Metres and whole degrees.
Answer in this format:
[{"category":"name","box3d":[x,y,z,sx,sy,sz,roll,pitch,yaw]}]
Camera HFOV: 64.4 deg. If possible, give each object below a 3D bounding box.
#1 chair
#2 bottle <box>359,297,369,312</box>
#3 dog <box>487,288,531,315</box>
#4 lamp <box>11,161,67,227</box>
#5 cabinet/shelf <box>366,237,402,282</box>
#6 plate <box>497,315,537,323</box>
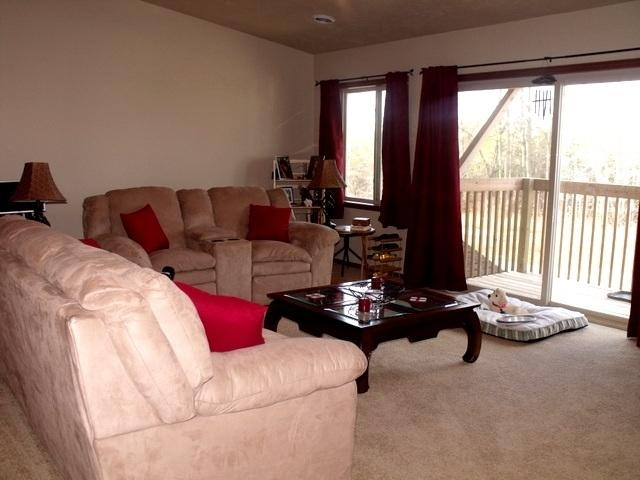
[{"category":"chair","box3d":[-0.935,0.014,4.357,1.411,0.649,0.684,0,2,-32]},{"category":"bottle","box3d":[0.297,0.434,3.442,0.085,0.080,0.081,2,-3,-23]},{"category":"dog","box3d":[1.672,0.555,4.592,0.373,0.146,0.186,20,-3,15]},{"category":"lamp","box3d":[-2.453,-0.378,4.382,0.451,0.507,0.384,2,9,-1]},{"category":"cabinet/shelf","box3d":[0.735,0.211,5.746,0.394,0.410,0.393,-6,2,-43]},{"category":"plate","box3d":[1.686,0.676,4.354,0.199,0.025,0.123,0,5,1]}]
